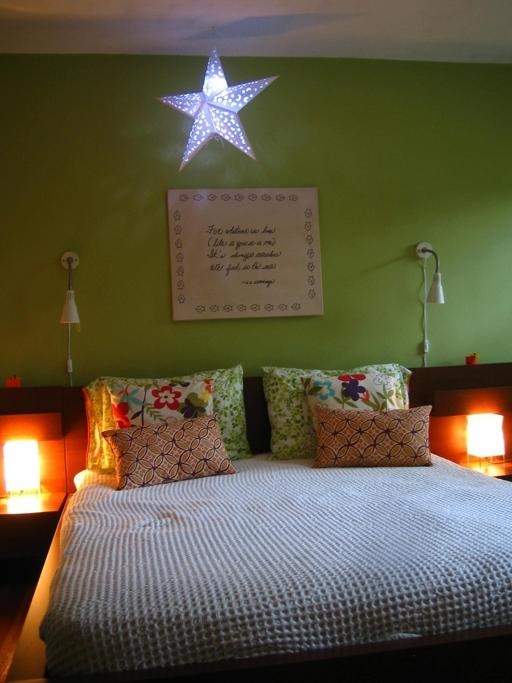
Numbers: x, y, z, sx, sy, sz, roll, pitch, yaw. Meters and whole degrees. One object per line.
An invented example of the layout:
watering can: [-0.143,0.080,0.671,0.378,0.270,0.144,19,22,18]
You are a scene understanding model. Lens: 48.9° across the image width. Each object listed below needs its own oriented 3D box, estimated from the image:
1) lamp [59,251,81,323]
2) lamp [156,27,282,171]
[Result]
lamp: [-0.882,-0.259,2.665,0.095,0.357,0.274,-3,1,-19]
lamp: [-0.163,-1.077,2.747,0.419,0.456,0.449,-3,1,-41]
